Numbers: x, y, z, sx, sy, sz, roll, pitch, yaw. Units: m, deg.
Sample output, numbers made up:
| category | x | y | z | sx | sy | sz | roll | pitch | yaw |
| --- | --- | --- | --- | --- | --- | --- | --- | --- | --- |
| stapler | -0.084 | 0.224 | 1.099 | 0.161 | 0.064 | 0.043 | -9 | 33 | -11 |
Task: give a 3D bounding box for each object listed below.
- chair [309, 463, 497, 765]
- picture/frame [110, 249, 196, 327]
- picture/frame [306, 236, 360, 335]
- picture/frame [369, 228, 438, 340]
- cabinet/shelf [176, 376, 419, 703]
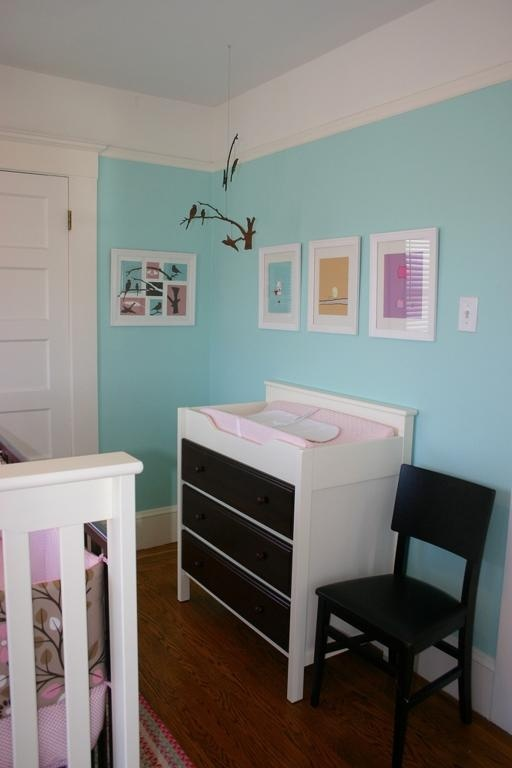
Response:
| category | x | y | z | sx | sy | sz | roll | pitch | yaw |
| --- | --- | --- | --- | --- | --- | --- | --- | --- | --- |
| chair | 0.444 | 0.659 | 1.728 | 0.454 | 0.755 | 0.427 | -3 | 5 | -33 |
| picture/frame | -0.571 | -0.528 | 3.055 | 0.418 | 0.368 | 0.017 | -4 | 8 | -38 |
| picture/frame | 0.323 | -0.399 | 2.343 | 0.020 | 0.369 | 0.260 | -9 | 13 | -43 |
| picture/frame | 0.513 | -0.342 | 2.000 | 0.013 | 0.367 | 0.292 | -9 | 13 | -36 |
| cabinet/shelf | 0.098 | 0.512 | 2.233 | 0.538 | 0.946 | 0.822 | -4 | 9 | -37 |
